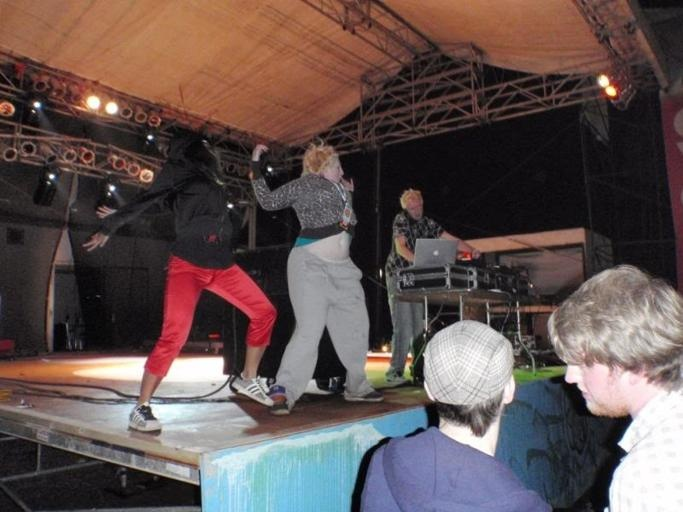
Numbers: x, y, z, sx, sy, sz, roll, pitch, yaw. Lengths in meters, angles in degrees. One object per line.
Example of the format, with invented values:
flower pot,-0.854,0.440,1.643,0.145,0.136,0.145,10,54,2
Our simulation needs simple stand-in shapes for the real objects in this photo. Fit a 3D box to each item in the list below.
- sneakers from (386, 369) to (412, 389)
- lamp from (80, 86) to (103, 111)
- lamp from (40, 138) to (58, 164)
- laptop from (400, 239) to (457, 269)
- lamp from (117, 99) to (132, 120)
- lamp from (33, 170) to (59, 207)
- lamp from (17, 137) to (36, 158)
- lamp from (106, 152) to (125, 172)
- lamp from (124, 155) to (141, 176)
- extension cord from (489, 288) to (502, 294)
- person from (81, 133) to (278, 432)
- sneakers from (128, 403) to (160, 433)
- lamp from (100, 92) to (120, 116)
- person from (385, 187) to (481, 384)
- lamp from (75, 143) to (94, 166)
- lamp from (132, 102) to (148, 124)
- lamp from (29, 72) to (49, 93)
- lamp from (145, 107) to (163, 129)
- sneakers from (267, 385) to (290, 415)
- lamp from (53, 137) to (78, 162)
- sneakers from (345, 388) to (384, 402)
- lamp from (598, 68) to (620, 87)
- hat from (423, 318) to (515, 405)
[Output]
sneakers,0.460,1.042,4.097,0.096,0.111,0.256,9,-19,-32
lamp,-4.142,-2.556,7.995,0.302,0.289,0.440,12,18,-44
lamp,-5.289,-1.857,8.740,0.254,0.516,0.516,5,-7,-34
laptop,0.722,-0.024,3.790,0.311,0.212,0.220,1,6,-10
lamp,-3.775,-2.510,8.431,0.237,0.228,0.293,4,-7,-24
lamp,-5.387,-1.232,8.811,0.320,0.524,0.671,5,-7,-33
lamp,-5.505,-1.911,8.519,0.240,0.342,0.123,-5,-2,-2
lamp,-4.430,-1.834,9.487,0.331,0.329,0.493,-5,16,-32
lamp,-4.180,-1.798,9.666,0.238,0.356,0.342,-4,5,-23
extension cord,1.318,0.295,4.160,0.022,0.037,0.255,-3,-8,35
person,-0.876,0.049,2.845,1.059,1.600,0.416,5,-7,-29
sneakers,-0.976,0.799,2.393,0.083,0.110,0.231,11,-18,-38
lamp,-3.938,-2.539,8.264,0.158,0.264,0.261,7,-23,5
person,0.740,0.352,4.381,0.909,1.952,0.933,1,3,33
lamp,-4.875,-1.908,9.239,0.358,0.387,0.452,17,5,-36
lamp,-3.542,-2.496,8.575,0.184,0.302,0.283,-9,28,-24
lamp,-4.778,-2.693,7.584,0.278,0.236,0.275,2,-6,-8
lamp,-3.374,-2.424,8.693,0.203,0.259,0.311,3,-6,-15
sneakers,-0.361,0.815,2.765,0.123,0.155,0.096,2,-6,-2
lamp,-5.139,-1.958,9.008,0.344,0.487,0.736,-9,19,-27
sneakers,0.145,0.909,3.184,0.228,0.105,0.093,-6,-16,16
lamp,4.094,-2.749,7.475,0.263,0.299,0.214,-3,-7,33
hat,0.374,0.321,1.433,0.237,0.256,0.100,7,-16,24
